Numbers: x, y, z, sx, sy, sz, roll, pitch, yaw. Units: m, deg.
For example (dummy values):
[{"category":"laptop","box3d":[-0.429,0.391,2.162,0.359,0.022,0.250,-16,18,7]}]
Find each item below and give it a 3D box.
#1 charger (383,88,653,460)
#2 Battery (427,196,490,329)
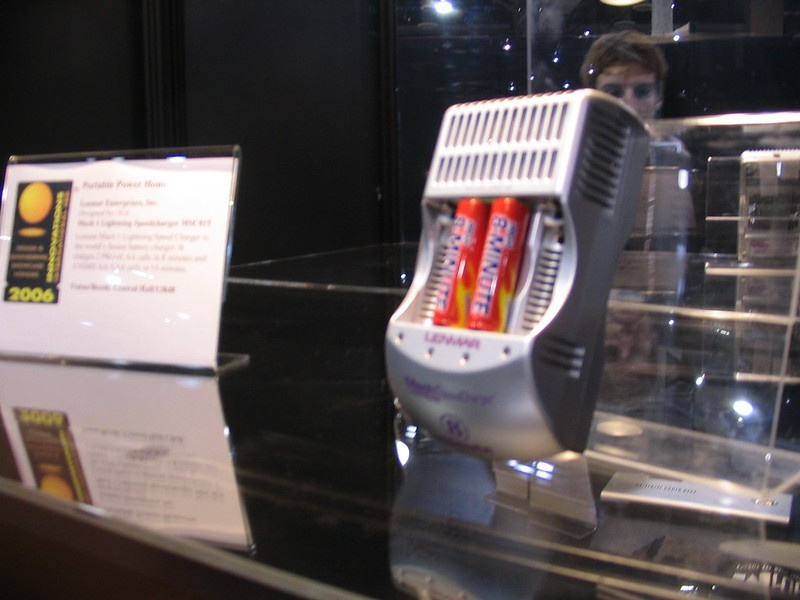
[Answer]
[{"category":"charger","box3d":[0.106,-0.028,0.667,0.223,0.326,0.141,4,10,18]},{"category":"Battery","box3d":[0.060,-0.034,0.687,0.034,0.125,0.030,13,0,-35]}]
